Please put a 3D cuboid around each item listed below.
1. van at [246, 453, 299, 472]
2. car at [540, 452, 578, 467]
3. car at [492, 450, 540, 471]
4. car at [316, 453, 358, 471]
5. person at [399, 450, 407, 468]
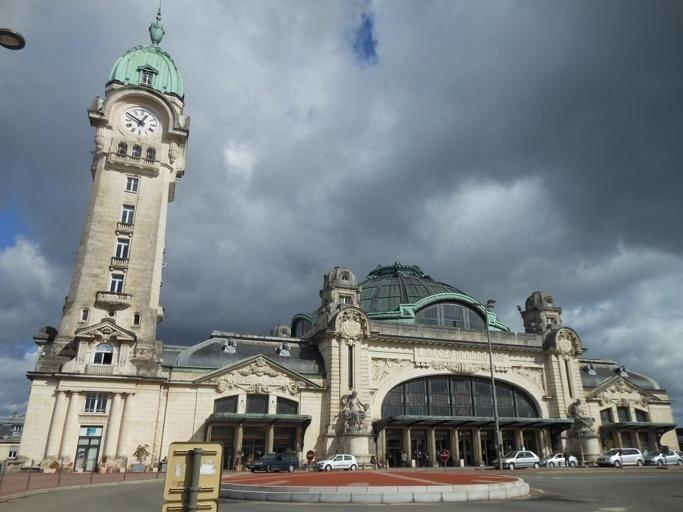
[{"bbox_3d":[-6.321,20.120,47.710,4.187,1.313,1.890,14,-32,-27],"label":"van"},{"bbox_3d":[23.568,22.079,53.422,5.408,1.356,1.752,18,-30,-35],"label":"car"},{"bbox_3d":[18.117,20.660,50.012,4.004,1.643,1.209,10,-27,-21],"label":"car"},{"bbox_3d":[-0.270,19.870,47.165,3.017,1.218,1.733,10,-36,-11],"label":"car"},{"bbox_3d":[7.247,23.256,56.566,0.686,1.650,1.021,0,-26,1],"label":"person"}]
